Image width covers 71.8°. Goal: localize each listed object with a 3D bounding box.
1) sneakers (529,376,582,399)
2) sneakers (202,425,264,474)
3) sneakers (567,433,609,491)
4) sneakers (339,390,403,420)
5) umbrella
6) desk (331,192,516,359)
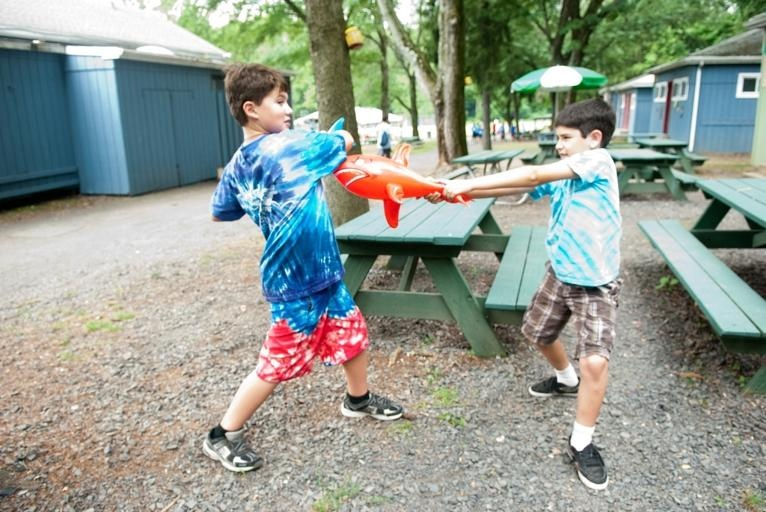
[{"bbox_3d":[1.294,0.998,3.999,0.379,0.162,0.148,3,4,9],"label":"sneakers"},{"bbox_3d":[-0.994,1.263,3.639,0.462,0.225,0.203,25,12,16],"label":"sneakers"},{"bbox_3d":[1.345,1.312,3.448,0.168,0.155,0.413,-4,19,-6],"label":"sneakers"},{"bbox_3d":[-0.081,1.101,3.958,0.457,0.195,0.180,1,8,1],"label":"sneakers"},{"bbox_3d":[3.988,-3.688,12.187,1.466,0.904,1.435,-1,5,38],"label":"umbrella"},{"bbox_3d":[0.412,-0.210,4.770,1.300,0.749,2.046,3,14,15],"label":"desk"}]
